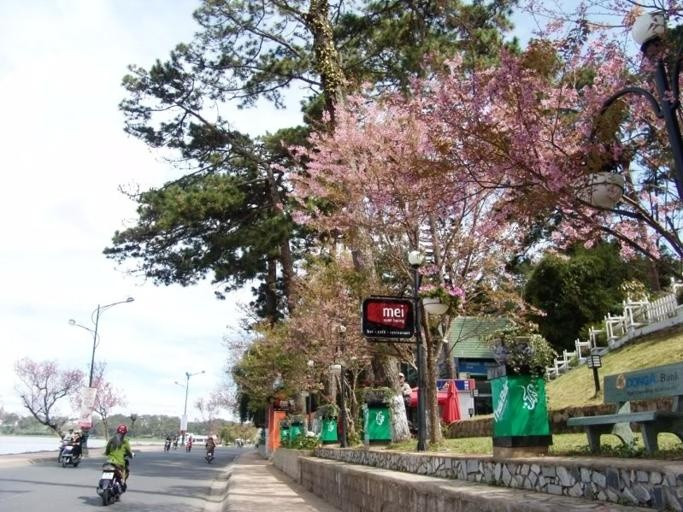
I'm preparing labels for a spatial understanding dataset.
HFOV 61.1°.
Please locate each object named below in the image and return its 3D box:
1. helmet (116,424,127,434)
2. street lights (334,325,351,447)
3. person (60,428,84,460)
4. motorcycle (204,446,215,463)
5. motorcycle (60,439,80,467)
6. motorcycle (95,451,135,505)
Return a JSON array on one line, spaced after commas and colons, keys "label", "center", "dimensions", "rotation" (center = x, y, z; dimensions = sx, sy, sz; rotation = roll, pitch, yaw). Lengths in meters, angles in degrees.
[{"label": "helmet", "center": [-6.049, 4.775, 15.924], "dimensions": [0.291, 0.403, 0.410], "rotation": [5, -15, -23]}, {"label": "street lights", "center": [-0.129, 5.375, 22.926], "dimensions": [0.720, 4.945, 0.775], "rotation": [5, 4, 36]}, {"label": "person", "center": [-12.024, 8.572, 25.956], "dimensions": [0.672, 0.803, 1.357], "rotation": [-7, -48, -12]}, {"label": "motorcycle", "center": [-7.902, 11.869, 34.488], "dimensions": [0.361, 0.879, 0.606], "rotation": [2, -17, -12]}, {"label": "motorcycle", "center": [-11.921, 8.756, 25.316], "dimensions": [0.535, 0.828, 1.485], "rotation": [-2, -36, -7]}, {"label": "motorcycle", "center": [-5.955, 6.027, 15.085], "dimensions": [0.551, 0.855, 1.477], "rotation": [-5, -27, -15]}]
